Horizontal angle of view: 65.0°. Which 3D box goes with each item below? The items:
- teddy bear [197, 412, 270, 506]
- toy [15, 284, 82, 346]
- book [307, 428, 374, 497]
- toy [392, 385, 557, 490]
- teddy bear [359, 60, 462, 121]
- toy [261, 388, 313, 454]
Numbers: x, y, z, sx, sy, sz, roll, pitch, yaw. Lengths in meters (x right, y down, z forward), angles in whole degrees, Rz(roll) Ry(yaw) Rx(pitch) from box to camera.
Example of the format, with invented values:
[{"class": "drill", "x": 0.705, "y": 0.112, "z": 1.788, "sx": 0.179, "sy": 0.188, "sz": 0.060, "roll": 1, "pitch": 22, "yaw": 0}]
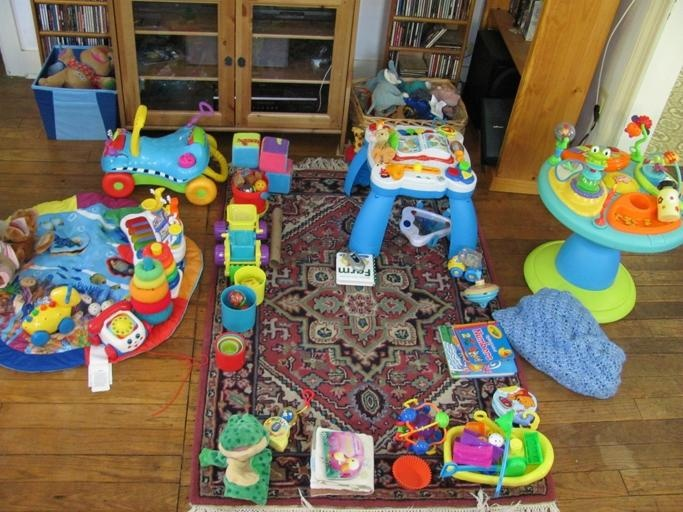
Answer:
[{"class": "teddy bear", "x": -0.410, "y": 0.860, "z": 2.297, "sx": 0.216, "sy": 0.279, "sz": 0.305, "roll": 2, "pitch": 40, "yaw": -3}, {"class": "toy", "x": -1.438, "y": 0.298, "z": 2.741, "sx": 0.229, "sy": 0.158, "sz": 0.330, "roll": 46, "pitch": 61, "yaw": 2}, {"class": "book", "x": 0.015, "y": 0.902, "z": 2.372, "sx": 0.292, "sy": 0.161, "sz": 0.259, "roll": 2, "pitch": 39, "yaw": -3}, {"class": "toy", "x": 0.637, "y": 0.821, "z": 2.445, "sx": 0.758, "sy": 0.285, "sz": 0.448, "roll": 5, "pitch": 39, "yaw": 2}, {"class": "teddy bear", "x": 0.508, "y": -1.148, "z": 3.926, "sx": 0.695, "sy": 0.293, "sz": 0.445, "roll": 3, "pitch": 68, "yaw": -5}, {"class": "toy", "x": -0.245, "y": 0.750, "z": 2.516, "sx": 0.131, "sy": 0.109, "sz": 0.315, "roll": 19, "pitch": 42, "yaw": 14}]
